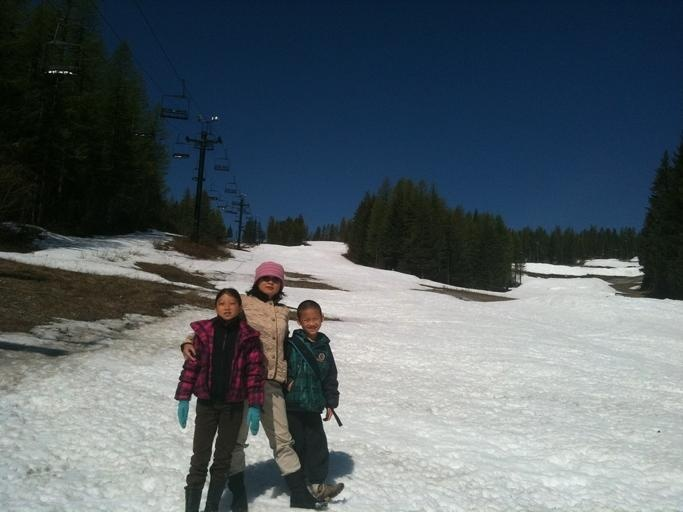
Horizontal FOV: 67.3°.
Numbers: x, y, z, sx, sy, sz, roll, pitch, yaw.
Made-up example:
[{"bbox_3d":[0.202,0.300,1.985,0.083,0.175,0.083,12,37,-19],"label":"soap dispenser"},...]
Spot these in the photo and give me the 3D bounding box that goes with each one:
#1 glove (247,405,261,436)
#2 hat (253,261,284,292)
[{"bbox_3d":[-1.138,2.212,6.892,0.130,0.364,0.266,4,-1,-40],"label":"glove"},{"bbox_3d":[-1.067,0.251,7.688,0.376,0.308,0.399,7,-38,-12],"label":"hat"}]
